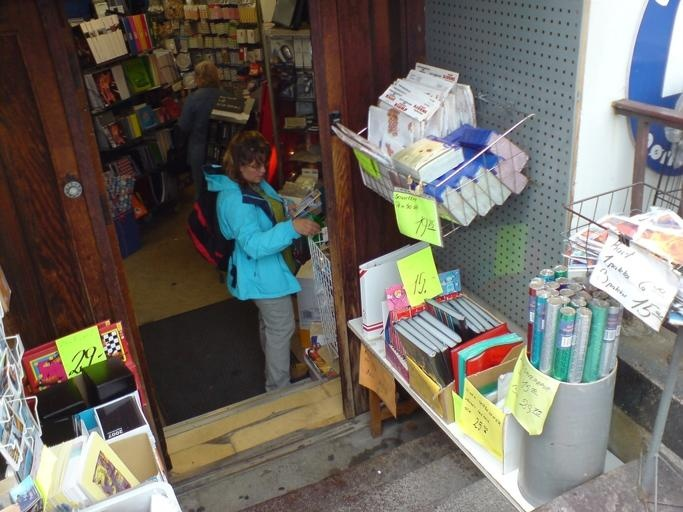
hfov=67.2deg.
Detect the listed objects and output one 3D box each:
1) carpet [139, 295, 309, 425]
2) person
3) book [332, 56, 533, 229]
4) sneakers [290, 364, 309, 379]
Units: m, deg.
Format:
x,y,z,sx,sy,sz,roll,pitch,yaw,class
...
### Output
x,y,z,sx,sy,sz,roll,pitch,yaw,class
-1.170,0.847,4.422,0.870,0.042,0.797,-17,33,-17,carpet
-0.518,0.101,3.738,0.616,1.867,0.744,-15,29,-18,person
0.447,-0.327,2.265,0.822,0.403,0.639,-43,48,-20,book
-0.342,0.919,4.121,0.117,0.047,0.094,-17,60,-18,sneakers
